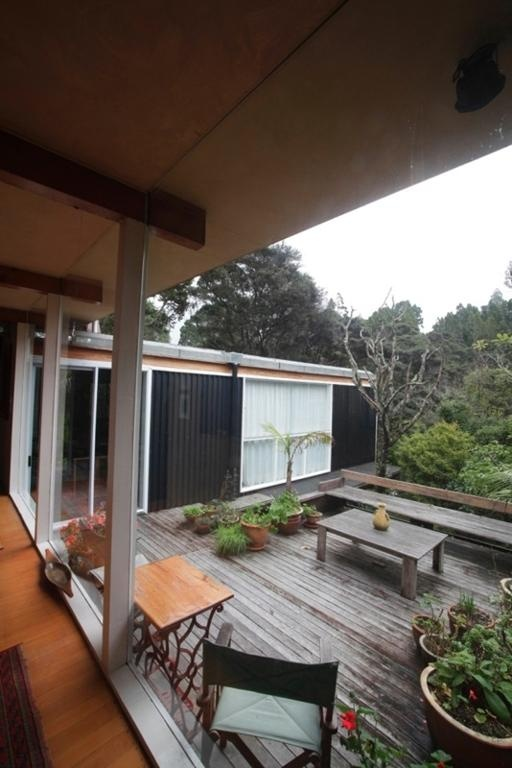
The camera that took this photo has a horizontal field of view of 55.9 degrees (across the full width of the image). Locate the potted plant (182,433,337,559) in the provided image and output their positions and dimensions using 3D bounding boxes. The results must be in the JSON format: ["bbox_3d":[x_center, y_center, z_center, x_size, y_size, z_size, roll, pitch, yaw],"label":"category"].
[{"bbox_3d":[0.031,0.909,4.401,0.606,0.816,1.997,3,-6,22],"label":"potted plant"}]

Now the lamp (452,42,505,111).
[{"bbox_3d":[0.499,-0.684,1.074,0.034,0.106,0.079,-8,51,-40],"label":"lamp"}]
